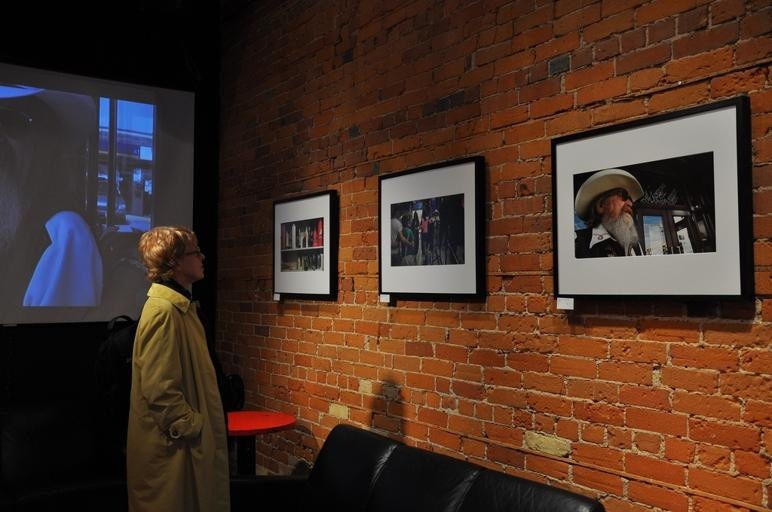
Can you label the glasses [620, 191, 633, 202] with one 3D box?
[{"bbox_3d":[1.218,-0.306,2.846,0.049,0.017,0.049,23,-20,-7],"label":"glasses"}]
